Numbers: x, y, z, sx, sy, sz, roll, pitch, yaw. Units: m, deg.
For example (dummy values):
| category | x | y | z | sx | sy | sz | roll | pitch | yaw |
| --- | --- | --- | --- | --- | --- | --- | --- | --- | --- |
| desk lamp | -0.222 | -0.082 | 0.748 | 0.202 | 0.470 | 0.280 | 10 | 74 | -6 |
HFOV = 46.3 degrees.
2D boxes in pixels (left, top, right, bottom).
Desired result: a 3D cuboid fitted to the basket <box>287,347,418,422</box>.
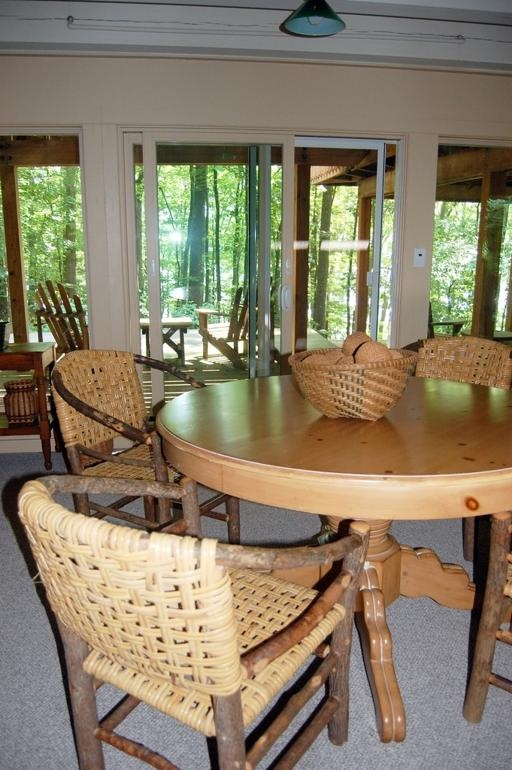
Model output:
| category | x | y | z | sx | sy | sz | roll | pitch | yaw |
| --- | --- | --- | --- | --- | --- | --- | --- | --- | --- |
| basket | 0.228 | 0.000 | 1.484 | 0.212 | 0.110 | 0.210 | 2 | 16 | 3 |

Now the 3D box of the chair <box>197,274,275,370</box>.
| category | x | y | z | sx | sy | sz | roll | pitch | yaw |
| --- | --- | --- | --- | --- | --- | --- | --- | --- | --- |
| chair | -0.196 | -0.394 | 3.991 | 0.431 | 0.570 | 0.529 | -10 | 21 | -36 |

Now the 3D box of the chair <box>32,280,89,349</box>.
| category | x | y | z | sx | sy | sz | roll | pitch | yaw |
| --- | --- | --- | --- | --- | --- | --- | --- | --- | --- |
| chair | -1.661 | -0.535 | 5.039 | 0.344 | 0.418 | 0.560 | -9 | -20 | -5 |
